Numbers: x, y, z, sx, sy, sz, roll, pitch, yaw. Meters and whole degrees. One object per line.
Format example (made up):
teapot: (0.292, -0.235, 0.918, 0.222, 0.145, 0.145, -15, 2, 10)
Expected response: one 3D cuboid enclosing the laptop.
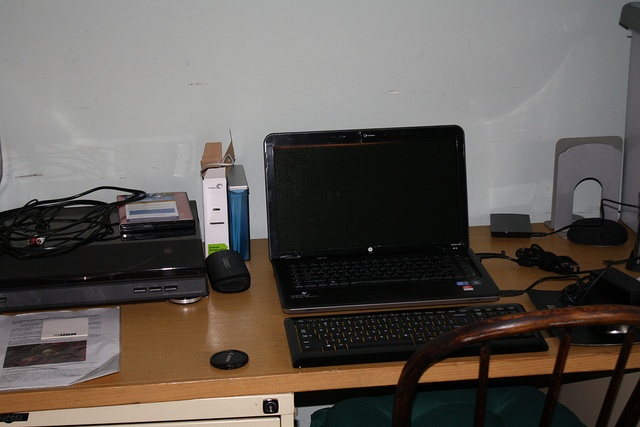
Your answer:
laptop: (0.127, -0.023, 1.716, 0.648, 0.373, 0.466, -2, -15, -11)
